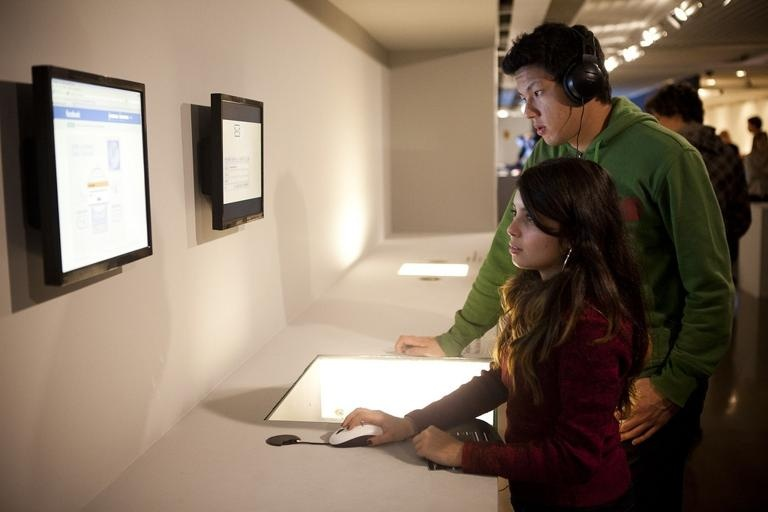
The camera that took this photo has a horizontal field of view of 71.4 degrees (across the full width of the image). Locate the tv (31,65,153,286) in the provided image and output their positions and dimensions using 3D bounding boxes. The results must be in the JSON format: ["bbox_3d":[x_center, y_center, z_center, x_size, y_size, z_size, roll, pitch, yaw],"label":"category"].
[{"bbox_3d":[-0.711,-0.203,1.325,0.080,0.480,0.330,0,12,17],"label":"tv"}]

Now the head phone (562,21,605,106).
[{"bbox_3d":[0.575,-0.546,1.570,0.085,0.199,0.211,2,5,6],"label":"head phone"}]

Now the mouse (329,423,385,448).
[{"bbox_3d":[-0.082,0.506,1.500,0.113,0.041,0.070,-10,7,-4],"label":"mouse"}]
